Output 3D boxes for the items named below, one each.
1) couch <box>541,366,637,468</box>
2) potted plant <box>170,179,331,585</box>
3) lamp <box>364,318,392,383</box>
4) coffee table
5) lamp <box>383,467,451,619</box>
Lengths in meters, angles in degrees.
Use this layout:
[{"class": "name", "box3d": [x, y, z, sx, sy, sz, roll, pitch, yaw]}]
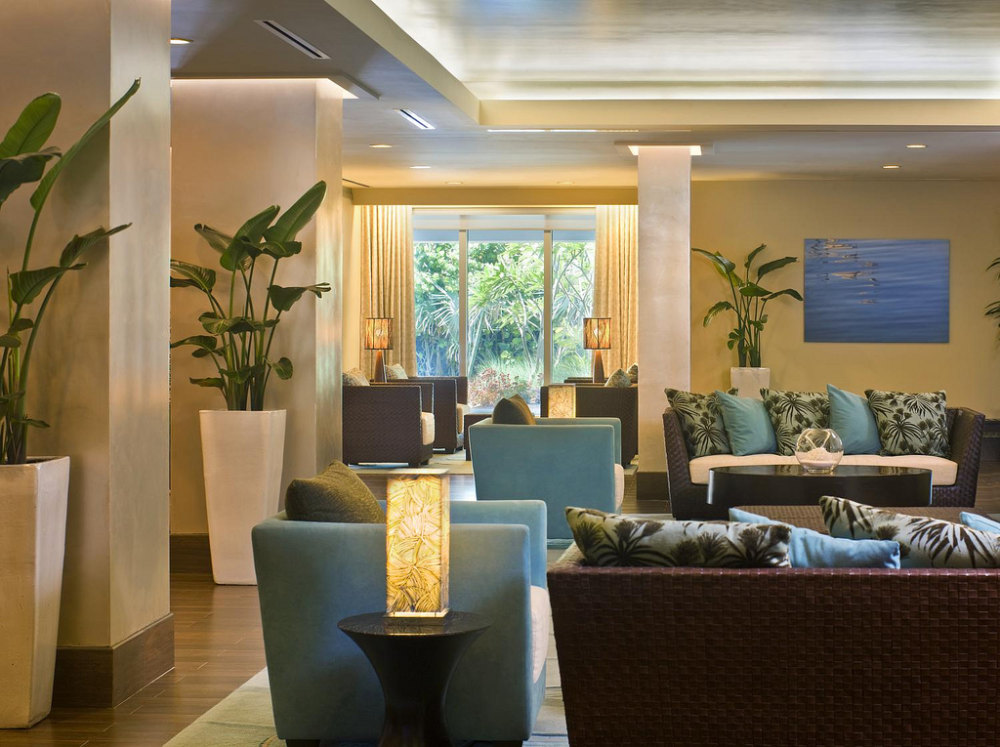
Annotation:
[{"class": "couch", "box3d": [0.821, 0.382, 7.361, 1.065, 0.958, 0.500, 0, 12, 6]}, {"class": "potted plant", "box3d": [-1.572, 0.029, 5.141, 0.800, 2.502, 0.928, 1, -1, -44]}, {"class": "lamp", "box3d": [-1.557, -0.328, 10.724, 0.340, 0.865, 1.239, 1, -1, -8]}, {"class": "coffee table", "box3d": [1.963, 0.699, 5.026, 1.308, 0.280, 0.640, 1, -2, -2]}, {"class": "lamp", "box3d": [-0.248, 0.515, 2.534, 0.179, 0.433, 0.094, 1, -1, -13]}]
